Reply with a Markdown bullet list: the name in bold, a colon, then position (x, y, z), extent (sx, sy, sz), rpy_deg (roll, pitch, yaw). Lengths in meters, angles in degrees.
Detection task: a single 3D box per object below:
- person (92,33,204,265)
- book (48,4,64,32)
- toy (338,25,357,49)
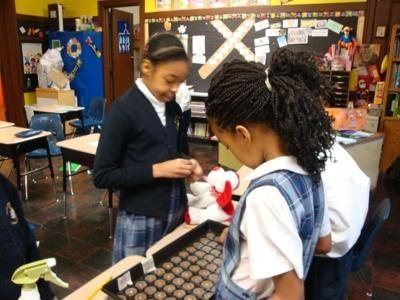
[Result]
- **person**: position (-0.282, 0.034, 1.679), extent (0.593, 1.274, 0.332), rpy_deg (-8, 16, -24)
- **book**: position (-3.381, -3.100, 7.281), extent (0.453, 0.602, 0.241), rpy_deg (11, 20, 40)
- **toy**: position (2.171, -1.660, 4.575), extent (0.246, 0.335, 0.211), rpy_deg (5, 16, 23)
